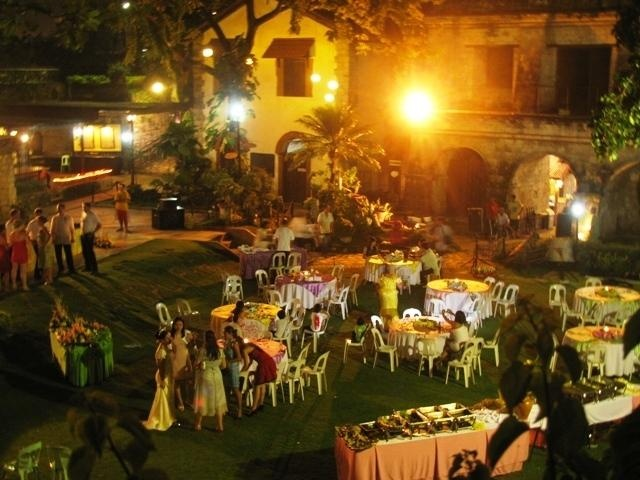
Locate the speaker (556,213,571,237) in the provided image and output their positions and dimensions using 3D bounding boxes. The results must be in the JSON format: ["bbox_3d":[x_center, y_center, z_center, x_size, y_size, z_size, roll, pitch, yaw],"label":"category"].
[{"bbox_3d":[8.843,-0.540,21.417,0.555,0.895,0.270,1,-3,9],"label":"speaker"}]

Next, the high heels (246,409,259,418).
[{"bbox_3d":[-1.246,3.214,10.996,0.186,0.079,0.100,-29,16,46],"label":"high heels"}]

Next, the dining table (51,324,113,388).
[{"bbox_3d":[-4.886,2.376,12.051,1.087,1.086,0.800,1,-3,14],"label":"dining table"}]

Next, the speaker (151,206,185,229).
[{"bbox_3d":[-6.025,-0.810,23.327,1.351,0.983,0.708,-2,3,-43],"label":"speaker"}]

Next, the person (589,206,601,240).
[{"bbox_3d":[10.155,-0.654,21.932,0.332,1.191,0.792,0,-3,26],"label":"person"}]
